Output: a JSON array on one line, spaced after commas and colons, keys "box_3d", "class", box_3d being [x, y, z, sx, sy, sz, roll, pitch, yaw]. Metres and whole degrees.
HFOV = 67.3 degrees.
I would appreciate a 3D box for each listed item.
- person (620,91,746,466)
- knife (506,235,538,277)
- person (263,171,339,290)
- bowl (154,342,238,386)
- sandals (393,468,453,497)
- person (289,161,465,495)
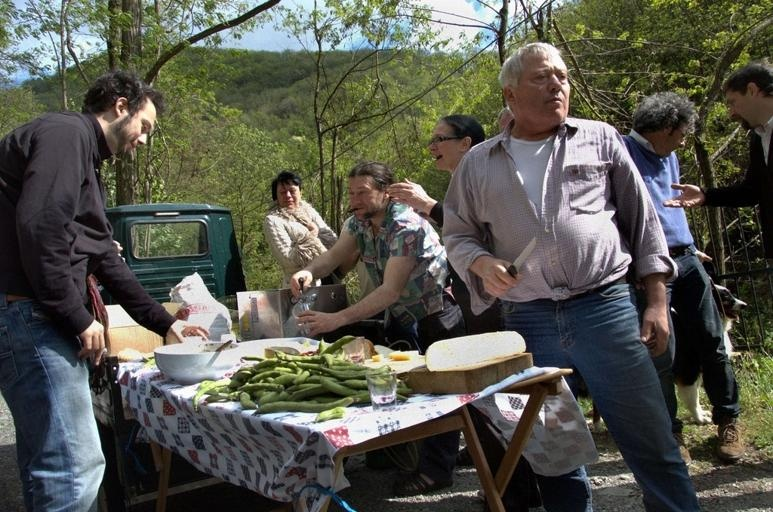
[{"box_3d": [2.571, 0.062, 5.017, 0.984, 3.025, 1.056, -16, -5, 25], "class": "person"}, {"box_3d": [0.787, 0.000, 3.348, 0.345, 0.065, 0.036, -51, -5, 40], "class": "knife"}, {"box_3d": [-1.111, -0.354, 6.988, 0.834, 1.538, 1.258, 0, -3, 0], "class": "person"}, {"box_3d": [-1.250, 0.684, 3.630, 0.401, 0.179, 0.405, 1, -3, 0], "class": "bowl"}, {"box_3d": [0.291, 1.845, 4.766, 0.479, 0.167, 0.205, 3, -9, -9], "class": "sandals"}, {"box_3d": [-0.159, 0.370, 5.140, 1.267, 2.969, 1.089, -1, 0, -32], "class": "person"}]
